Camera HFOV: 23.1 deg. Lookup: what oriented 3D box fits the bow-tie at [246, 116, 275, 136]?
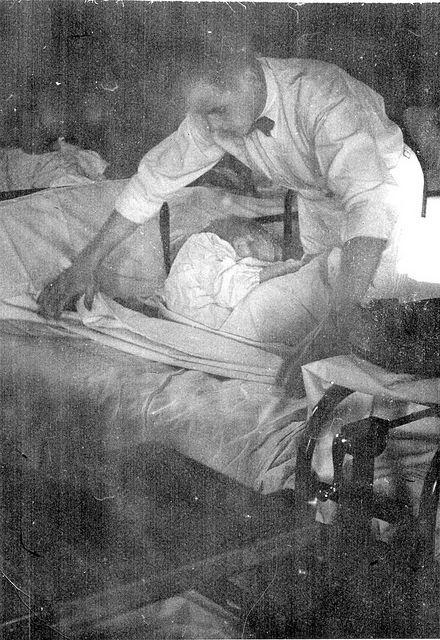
[{"bbox_3d":[0.147,-0.666,3.721,0.086,0.064,0.015,3,-10,7],"label":"bow-tie"}]
